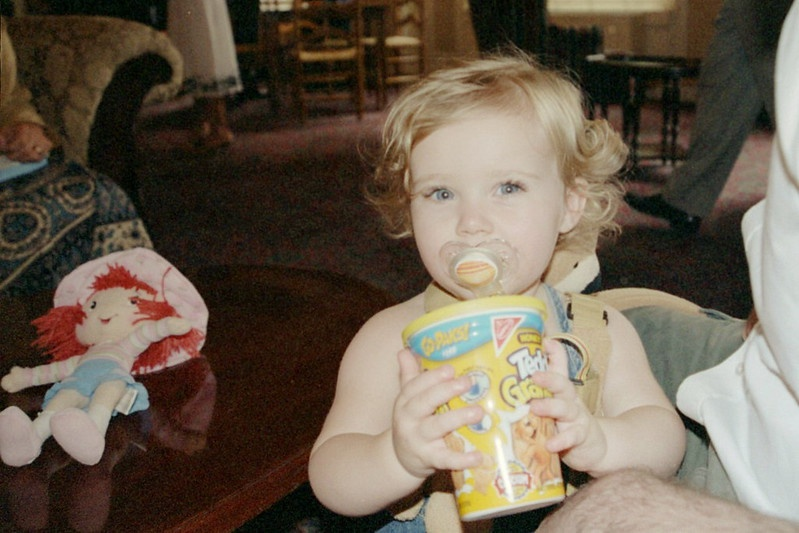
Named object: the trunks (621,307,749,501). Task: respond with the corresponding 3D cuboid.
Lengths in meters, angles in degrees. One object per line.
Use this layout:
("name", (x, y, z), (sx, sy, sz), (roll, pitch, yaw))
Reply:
("trunks", (0.567, 0.273, 1.399), (0.213, 0.129, 0.342), (-2, 72, 31))

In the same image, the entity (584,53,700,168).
("entity", (0.625, -0.442, 1.823), (0.243, 0.236, 0.277), (10, 37, 17))

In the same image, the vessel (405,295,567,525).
("vessel", (0.137, 0.227, 1.129), (0.212, 0.312, 0.193), (-7, 31, -6))
